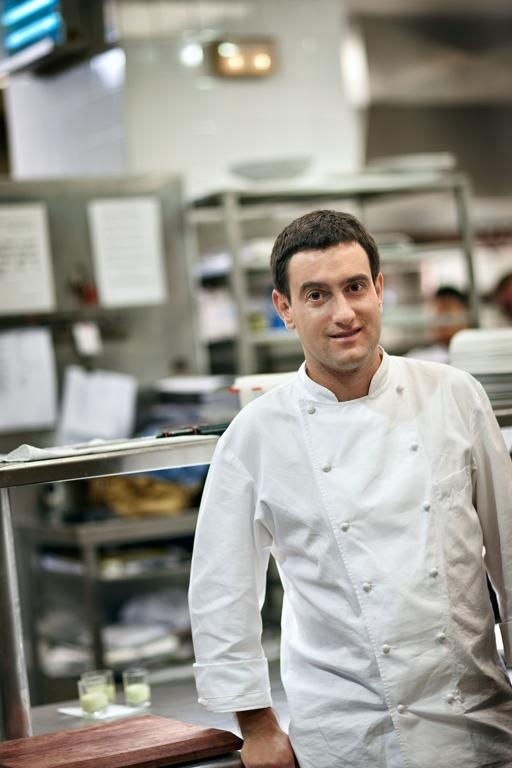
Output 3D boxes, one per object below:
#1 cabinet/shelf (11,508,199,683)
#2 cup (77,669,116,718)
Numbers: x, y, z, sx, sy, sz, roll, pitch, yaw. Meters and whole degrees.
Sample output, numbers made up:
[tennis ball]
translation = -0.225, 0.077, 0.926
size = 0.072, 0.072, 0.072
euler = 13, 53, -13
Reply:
[cabinet/shelf]
translation = -0.498, 0.601, 2.683
size = 0.694, 0.579, 0.493
euler = 1, -1, -44
[cup]
translation = -0.343, 0.667, 1.698
size = 0.093, 0.082, 0.084
euler = 0, -6, -12
